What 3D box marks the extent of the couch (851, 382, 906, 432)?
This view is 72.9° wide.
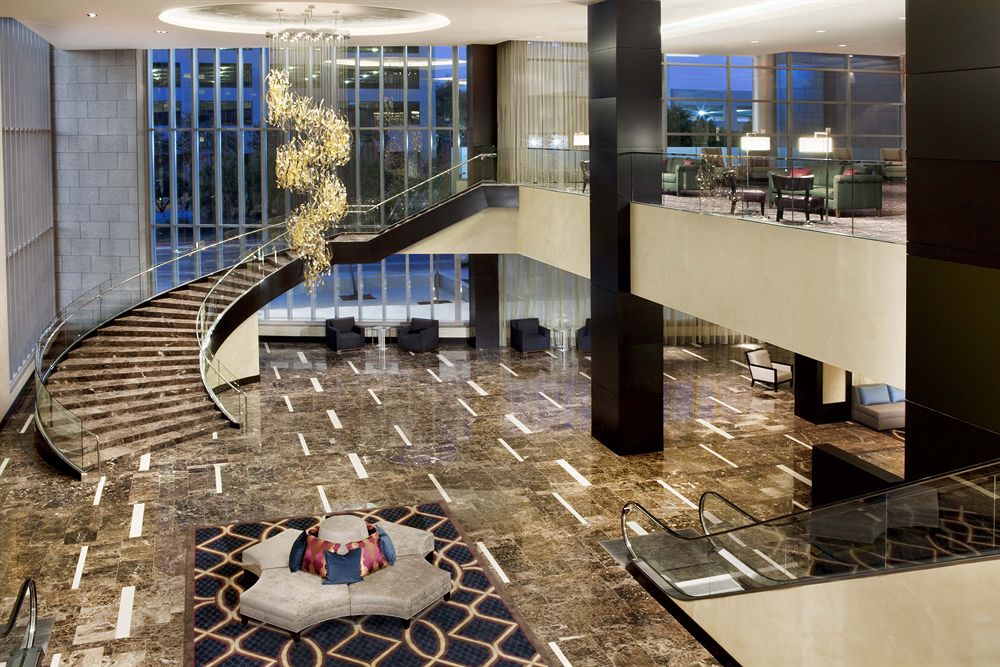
[{"bbox_3d":[10.074,1.917,18.157,1.246,0.991,1.312,8,16,29],"label":"couch"}]

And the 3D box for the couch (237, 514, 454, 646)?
[{"bbox_3d":[-2.466,4.020,10.744,2.095,0.744,2.028,0,14,1],"label":"couch"}]

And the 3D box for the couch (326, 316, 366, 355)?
[{"bbox_3d":[-5.746,0.044,25.269,1.324,0.986,1.297,-4,15,-15],"label":"couch"}]

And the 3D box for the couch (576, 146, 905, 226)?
[{"bbox_3d":[4.870,-2.691,12.138,0.526,1.212,4.909,-7,16,-25],"label":"couch"}]

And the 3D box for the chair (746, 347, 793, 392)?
[{"bbox_3d":[8.185,1.110,21.202,0.992,1.250,1.394,-7,10,-37],"label":"chair"}]

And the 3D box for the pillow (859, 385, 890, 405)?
[{"bbox_3d":[10.034,1.648,18.304,0.628,0.632,0.190,-2,-15,-10],"label":"pillow"}]

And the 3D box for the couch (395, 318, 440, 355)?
[{"bbox_3d":[-3.038,0.175,25.454,1.347,1.335,1.333,4,6,30],"label":"couch"}]

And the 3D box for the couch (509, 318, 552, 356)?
[{"bbox_3d":[1.075,0.065,24.920,1.516,1.087,1.120,1,14,6],"label":"couch"}]
